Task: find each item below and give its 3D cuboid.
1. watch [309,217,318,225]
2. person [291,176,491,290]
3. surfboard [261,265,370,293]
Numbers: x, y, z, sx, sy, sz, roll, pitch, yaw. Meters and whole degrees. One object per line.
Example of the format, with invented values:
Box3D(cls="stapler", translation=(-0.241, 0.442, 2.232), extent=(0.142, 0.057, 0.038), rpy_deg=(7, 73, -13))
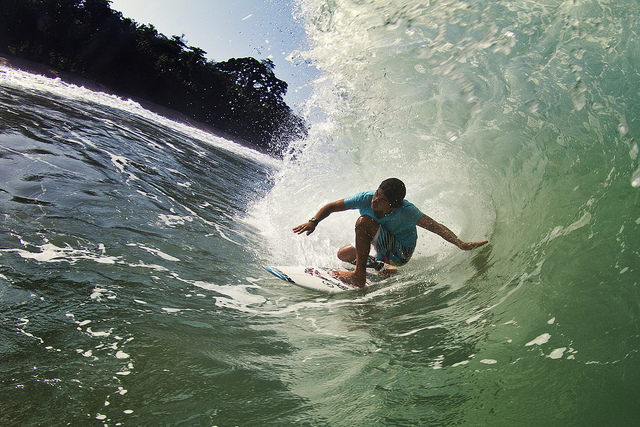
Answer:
Box3D(cls="watch", translation=(-0.110, 0.104, 6.522), extent=(0.096, 0.072, 0.090), rpy_deg=(20, 15, 15))
Box3D(cls="person", translation=(0.818, 0.284, 6.589), extent=(2.563, 1.168, 1.019), rpy_deg=(10, 1, -1))
Box3D(cls="surfboard", translation=(-0.076, 0.853, 6.005), extent=(1.526, 0.119, 0.410), rpy_deg=(10, 15, -21))
